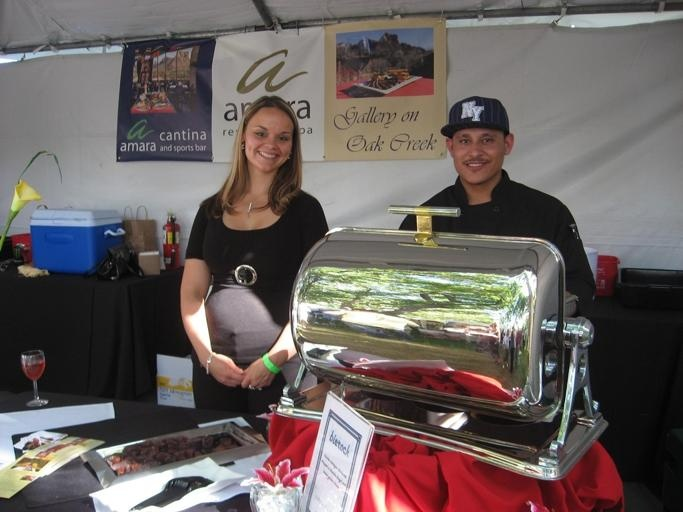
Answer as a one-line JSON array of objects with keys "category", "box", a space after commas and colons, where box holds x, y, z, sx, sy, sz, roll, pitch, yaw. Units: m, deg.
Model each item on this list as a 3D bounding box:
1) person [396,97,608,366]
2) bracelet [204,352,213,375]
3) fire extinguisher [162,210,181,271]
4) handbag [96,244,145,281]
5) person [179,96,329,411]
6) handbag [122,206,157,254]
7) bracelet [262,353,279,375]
[{"category": "person", "box": [0.609, -0.225, 1.886, 0.684, 0.725, 0.371, 10, 18, 37]}, {"category": "bracelet", "box": [-0.515, 0.420, 1.960, 0.019, 0.068, 0.057, 10, -5, -5]}, {"category": "fire extinguisher", "box": [-1.244, -0.116, 3.669, 0.128, 0.393, 0.214, -5, 15, -17]}, {"category": "handbag", "box": [-1.407, 0.053, 3.234, 0.242, 0.217, 0.270, 1, 14, -21]}, {"category": "person", "box": [-0.336, 0.070, 2.176, 0.576, 1.340, 0.559, 1, 4, 10]}, {"category": "handbag", "box": [-1.498, -0.197, 3.703, 0.265, 0.332, 0.120, -3, 8, -22]}, {"category": "bracelet", "box": [-0.269, 0.408, 1.917, 0.072, 0.028, 0.061, 30, -14, 46]}]
